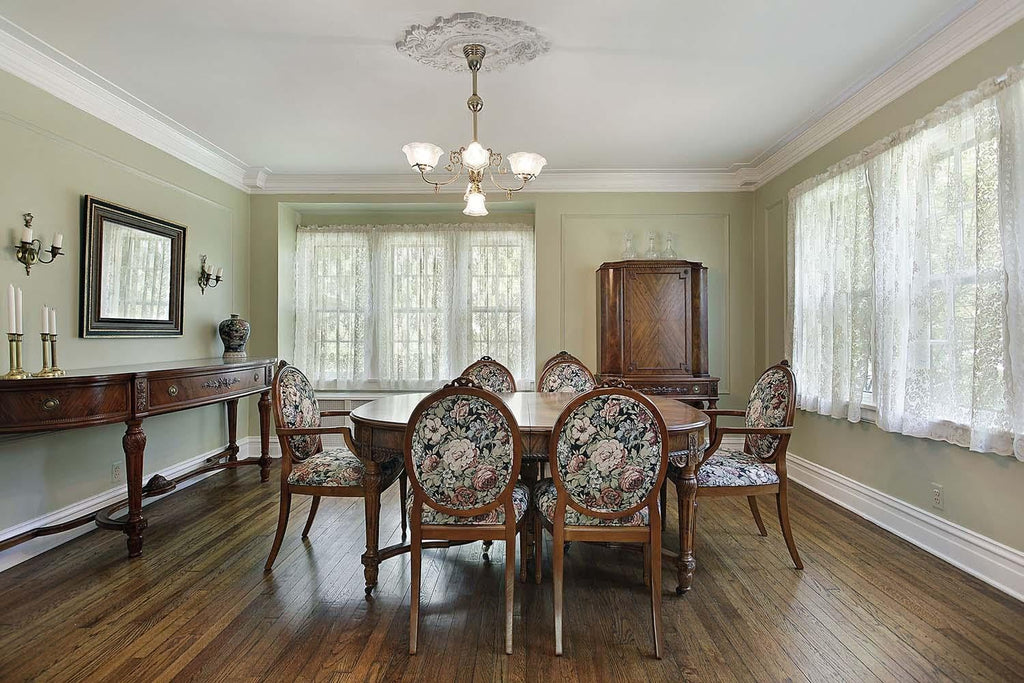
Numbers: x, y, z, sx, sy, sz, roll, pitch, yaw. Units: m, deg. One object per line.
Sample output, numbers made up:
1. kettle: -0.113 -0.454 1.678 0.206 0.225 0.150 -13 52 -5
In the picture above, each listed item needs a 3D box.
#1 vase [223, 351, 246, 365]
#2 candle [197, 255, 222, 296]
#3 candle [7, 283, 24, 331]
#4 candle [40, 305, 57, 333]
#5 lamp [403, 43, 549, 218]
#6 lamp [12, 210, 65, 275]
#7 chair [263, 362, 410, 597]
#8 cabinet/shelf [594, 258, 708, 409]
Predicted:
1. vase: -2.480 0.155 6.407 0.170 0.177 0.178 1 -4 -2
2. candle: -2.793 -0.614 6.684 0.116 0.346 0.344 -1 1 6
3. candle: -3.342 -0.220 4.810 0.085 0.274 0.316 -3 1 -36
4. candle: -3.169 -0.132 4.864 0.180 0.147 0.075 -1 1 38
5. lamp: -0.272 -1.528 5.214 0.999 1.314 1.107 0 1 23
6. lamp: -3.358 -0.689 5.104 0.122 0.361 0.358 -1 1 19
7. chair: -1.367 0.904 5.484 1.128 1.960 1.442 0 -2 2
8. cabinet/shelf: 1.300 -0.064 6.551 1.253 1.569 0.538 -1 -3 1
